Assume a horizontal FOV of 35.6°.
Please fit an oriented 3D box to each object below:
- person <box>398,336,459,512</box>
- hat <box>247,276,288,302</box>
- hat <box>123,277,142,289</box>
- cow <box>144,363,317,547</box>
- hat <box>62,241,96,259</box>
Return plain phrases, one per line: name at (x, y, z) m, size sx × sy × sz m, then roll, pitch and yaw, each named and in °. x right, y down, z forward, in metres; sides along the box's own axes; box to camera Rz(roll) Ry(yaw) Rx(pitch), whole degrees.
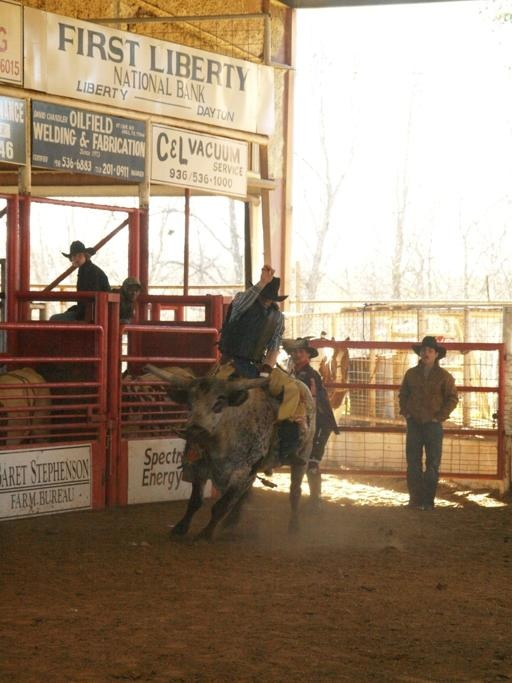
person at (1.916, 0.887, 8.963) m, size 0.502 × 1.883 × 0.526 m, roll 3°, pitch -3°, yaw -19°
hat at (0.100, -0.406, 6.312) m, size 0.234 × 0.094 × 0.204 m, roll 28°, pitch 8°, yaw -2°
hat at (-1.448, -0.686, 9.287) m, size 0.151 × 0.137 × 0.123 m, roll -4°, pitch 2°, yaw 12°
cow at (-0.124, 0.918, 6.495) m, size 0.820 × 1.394 × 1.257 m, roll 1°, pitch -3°, yaw 41°
hat at (-2.184, -1.134, 9.945) m, size 0.263 × 0.134 × 0.319 m, roll -14°, pitch 1°, yaw 9°
